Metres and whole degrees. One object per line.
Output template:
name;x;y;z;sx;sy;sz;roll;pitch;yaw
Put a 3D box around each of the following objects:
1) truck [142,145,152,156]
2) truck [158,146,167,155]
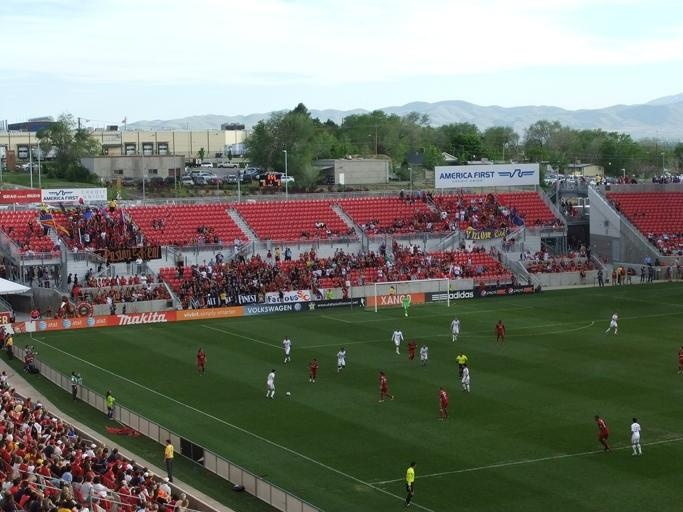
truck;-34.358;-19.030;220.710;1.728;2.017;2.922;-1;14;-4
truck;-31.989;-18.982;223.133;1.586;1.549;3.933;-2;14;-7
